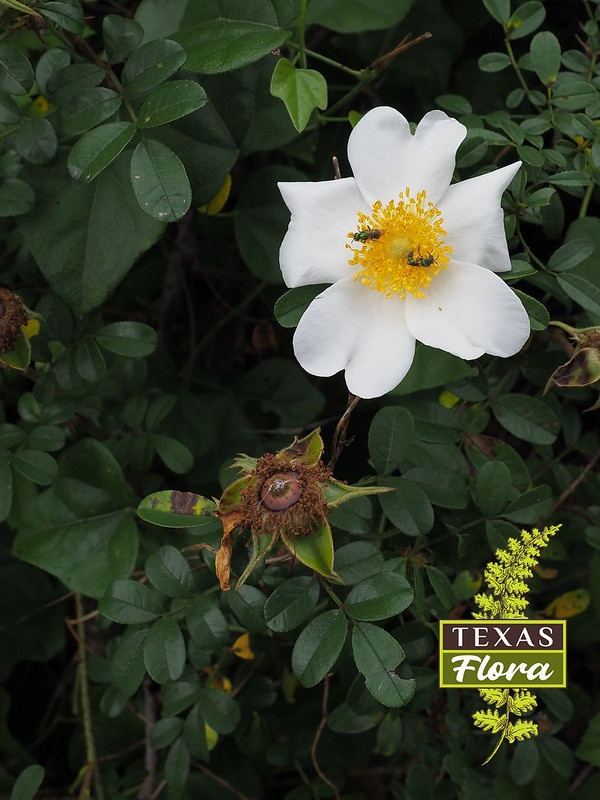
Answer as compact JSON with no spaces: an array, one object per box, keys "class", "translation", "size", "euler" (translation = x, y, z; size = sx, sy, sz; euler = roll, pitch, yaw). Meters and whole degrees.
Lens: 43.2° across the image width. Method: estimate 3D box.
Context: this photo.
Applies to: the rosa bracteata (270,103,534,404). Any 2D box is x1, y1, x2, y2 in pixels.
[{"class":"rosa bracteata","translation":[0.150,-0.223,1.149],"size":[0.361,0.168,0.410],"euler":[-3,73,7]}]
